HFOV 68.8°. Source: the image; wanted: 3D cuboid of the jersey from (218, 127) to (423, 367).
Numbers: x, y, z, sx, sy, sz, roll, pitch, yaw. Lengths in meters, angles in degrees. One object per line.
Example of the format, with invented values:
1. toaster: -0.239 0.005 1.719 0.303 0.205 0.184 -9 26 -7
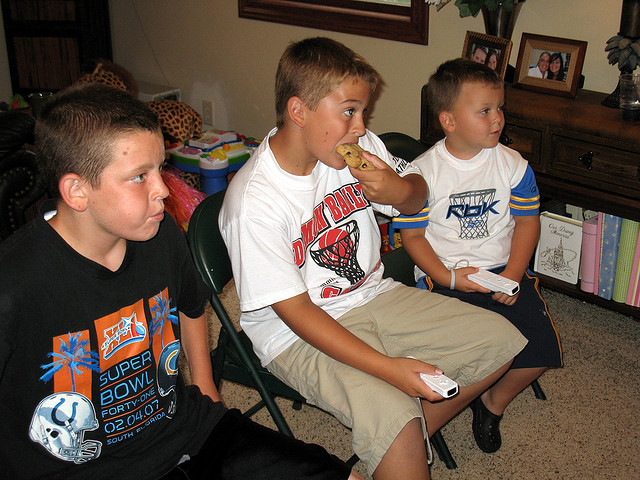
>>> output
1. jersey: 0.014 0.038 1.494 0.528 0.639 0.303 -32 32 -28

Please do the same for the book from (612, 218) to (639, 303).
1. book: 1.591 0.100 2.425 0.080 0.349 0.233 7 5 11

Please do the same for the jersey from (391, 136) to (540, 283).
1. jersey: 0.643 -0.136 2.007 0.586 0.537 0.335 -13 38 7

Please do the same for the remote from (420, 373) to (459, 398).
1. remote: 0.327 0.381 1.252 0.046 0.025 0.093 -20 35 -28

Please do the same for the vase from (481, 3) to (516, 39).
1. vase: 0.988 -1.223 2.633 0.169 0.212 0.168 5 22 14

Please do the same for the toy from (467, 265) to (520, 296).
1. toy: 0.649 0.149 1.720 0.152 0.035 0.085 27 44 36

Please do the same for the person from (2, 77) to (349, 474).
1. person: -0.350 0.039 1.547 0.859 1.348 0.847 6 13 7

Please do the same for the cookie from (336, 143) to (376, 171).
1. cookie: 0.116 -0.260 1.466 0.063 0.089 0.140 25 36 39

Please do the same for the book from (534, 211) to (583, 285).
1. book: 1.319 0.047 2.574 0.213 0.359 0.252 13 24 30
